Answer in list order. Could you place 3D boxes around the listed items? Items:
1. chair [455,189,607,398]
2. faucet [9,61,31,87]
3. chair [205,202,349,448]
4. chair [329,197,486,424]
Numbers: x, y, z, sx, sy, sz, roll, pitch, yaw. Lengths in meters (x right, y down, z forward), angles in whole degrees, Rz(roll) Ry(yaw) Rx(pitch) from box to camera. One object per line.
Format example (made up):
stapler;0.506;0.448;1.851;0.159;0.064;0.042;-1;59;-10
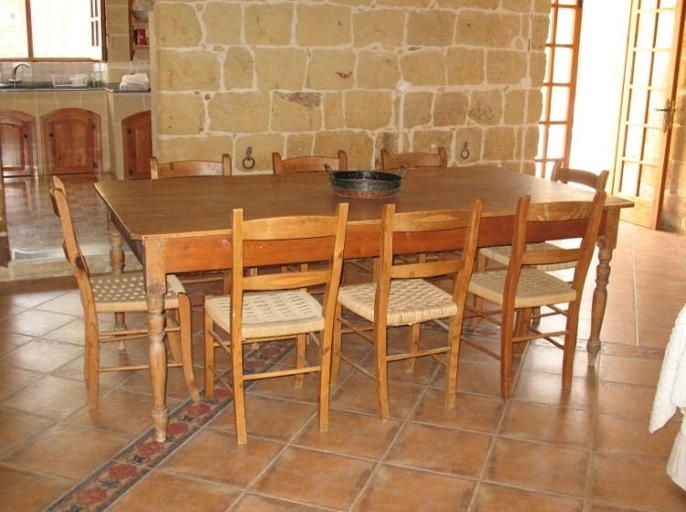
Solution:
chair;0.943;0.183;3.144;0.605;0.956;0.656;-4;10;-17
faucet;-4.350;-2.454;7.843;0.290;0.321;0.373;-8;18;-24
chair;-0.312;0.256;2.684;0.686;1.055;0.531;-4;19;-13
chair;0.334;0.175;3.026;0.690;1.034;0.964;4;17;12
